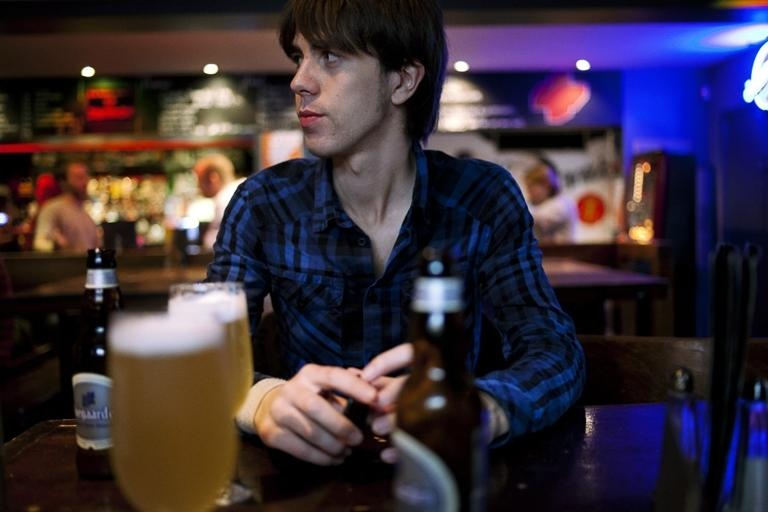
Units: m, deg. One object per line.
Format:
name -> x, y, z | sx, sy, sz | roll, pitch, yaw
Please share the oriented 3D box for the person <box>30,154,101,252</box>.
person -> -2.408, -0.387, 5.270 | 0.467, 0.689, 1.687 | -1, 1, -23
